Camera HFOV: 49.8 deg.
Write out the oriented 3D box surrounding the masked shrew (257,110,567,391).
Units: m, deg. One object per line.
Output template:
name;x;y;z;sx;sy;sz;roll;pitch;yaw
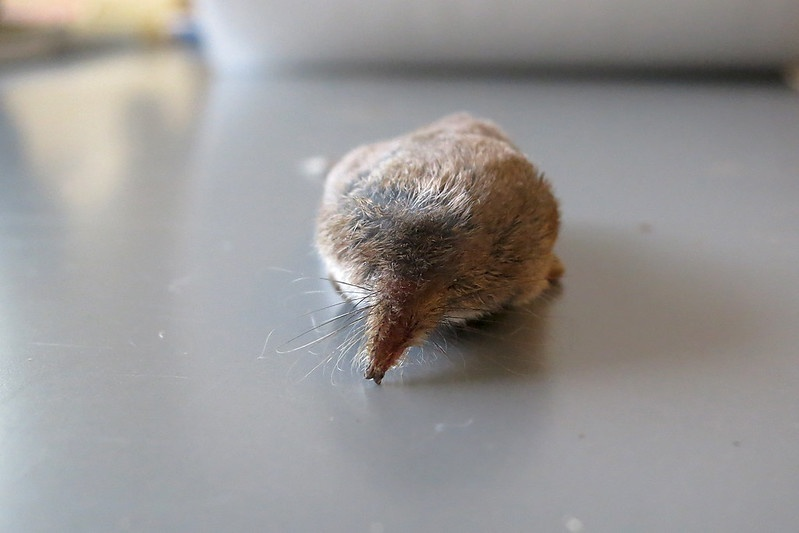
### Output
masked shrew;0.067;-0.059;1.450;0.410;0.168;0.414;-21;76;-6
